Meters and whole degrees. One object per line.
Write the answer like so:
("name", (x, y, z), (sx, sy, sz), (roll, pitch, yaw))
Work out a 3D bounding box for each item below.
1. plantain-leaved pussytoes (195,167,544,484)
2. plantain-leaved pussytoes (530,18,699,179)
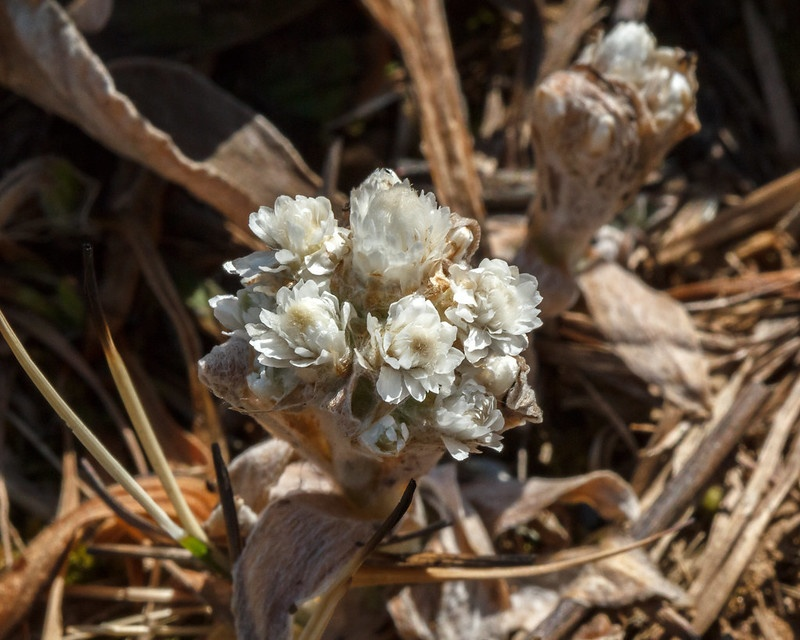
("plantain-leaved pussytoes", (-0.020, -0.003, 1.117), (0.298, 0.301, 0.304), (22, 51, -12))
("plantain-leaved pussytoes", (0.252, -0.247, 1.197), (0.192, 0.084, 0.146), (-38, 76, -4))
